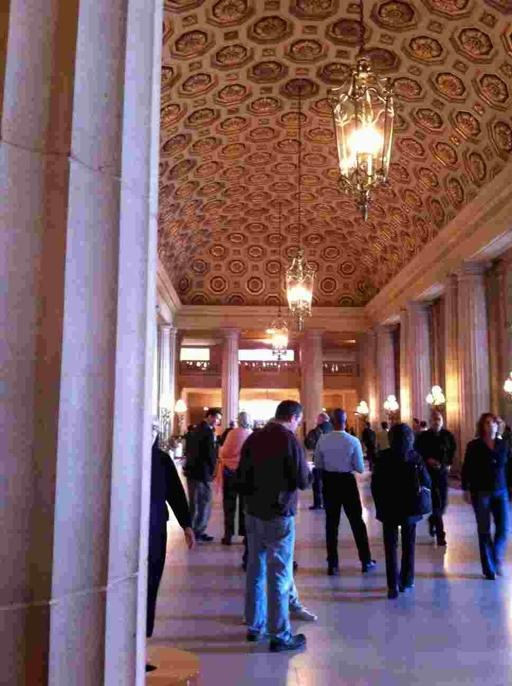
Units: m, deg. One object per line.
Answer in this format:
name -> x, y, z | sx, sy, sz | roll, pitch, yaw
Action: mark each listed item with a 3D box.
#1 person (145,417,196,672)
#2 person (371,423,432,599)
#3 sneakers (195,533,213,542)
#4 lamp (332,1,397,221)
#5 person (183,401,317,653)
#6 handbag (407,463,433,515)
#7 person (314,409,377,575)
person -> -0.419, 0.934, 2.851 | 0.215, 1.044, 0.711 | 1, -8, -7
person -> 1.208, 1.372, 4.841 | 0.488, 1.383, 0.387 | -2, -7, 13
sneakers -> -0.646, 2.404, 7.109 | 0.238, 0.123, 0.089 | 1, -4, 3
lamp -> 1.144, -2.239, 6.258 | 0.679, 1.749, 0.677 | -3, -8, 24
person -> 0.113, 1.220, 3.757 | 0.316, 1.389, 0.553 | 5, -9, -34
handbag -> 1.375, 1.232, 4.817 | 0.097, 0.446, 0.318 | -7, -10, 42
person -> 0.844, 1.426, 5.612 | 0.560, 1.543, 0.754 | -1, -7, 5
